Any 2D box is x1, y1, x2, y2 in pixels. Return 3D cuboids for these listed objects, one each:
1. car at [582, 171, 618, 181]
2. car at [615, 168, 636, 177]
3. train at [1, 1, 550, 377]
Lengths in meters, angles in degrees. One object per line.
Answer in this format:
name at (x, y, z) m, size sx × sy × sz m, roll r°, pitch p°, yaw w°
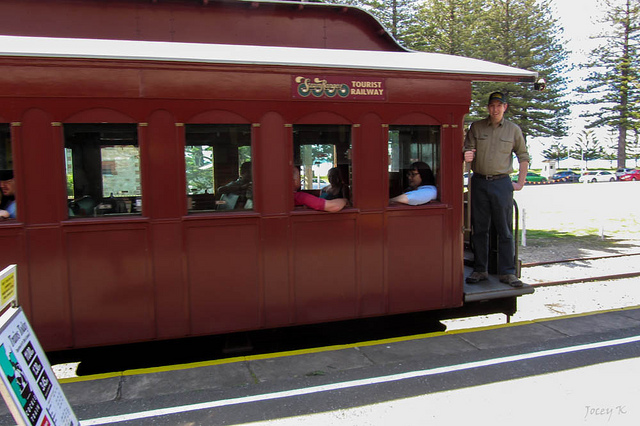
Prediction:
car at (27.794, -3.822, 50.023) m, size 3.623 × 0.859 × 1.489 m, roll 1°, pitch 2°, yaw 0°
car at (30.206, -3.888, 50.233) m, size 2.060 × 0.768 × 1.045 m, roll -11°, pitch 15°, yaw -14°
train at (-0.303, -0.613, 6.276) m, size 6.693 × 4.039 × 1.354 m, roll -7°, pitch 7°, yaw -20°
